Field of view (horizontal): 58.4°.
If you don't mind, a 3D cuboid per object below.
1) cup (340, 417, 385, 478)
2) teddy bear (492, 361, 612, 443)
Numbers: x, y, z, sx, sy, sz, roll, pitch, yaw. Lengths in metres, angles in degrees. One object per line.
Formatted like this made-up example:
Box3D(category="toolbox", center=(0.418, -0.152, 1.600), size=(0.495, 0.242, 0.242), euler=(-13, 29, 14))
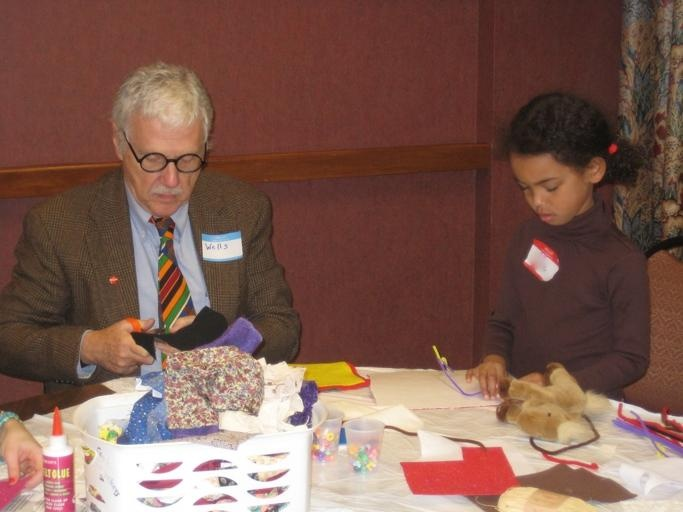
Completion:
Box3D(category="cup", center=(0.045, 0.481, 1.540), size=(0.110, 0.110, 0.108), euler=(0, -4, 0))
Box3D(category="teddy bear", center=(0.605, 0.409, 1.708), size=(0.215, 0.085, 0.206), euler=(-13, 32, -29))
